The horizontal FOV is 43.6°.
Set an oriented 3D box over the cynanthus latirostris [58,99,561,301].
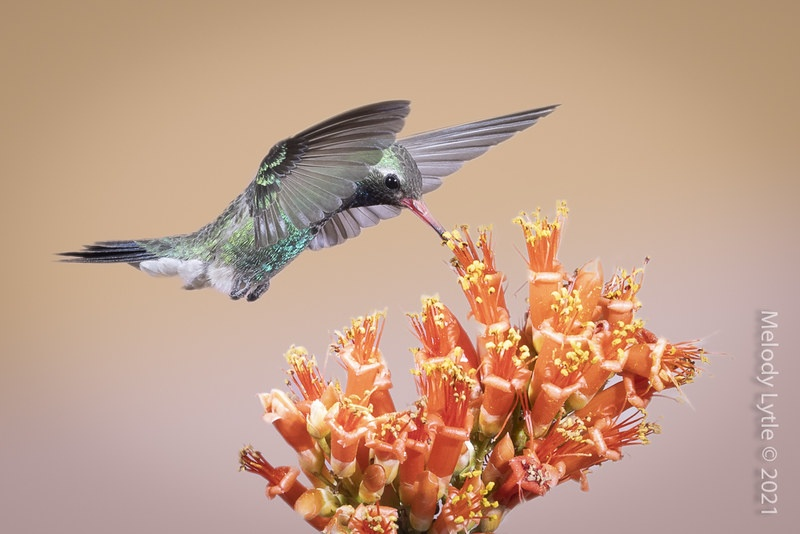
[{"bbox_3d":[-0.232,-0.163,2.330,0.769,0.765,0.280,2,-96,6],"label":"cynanthus latirostris"}]
